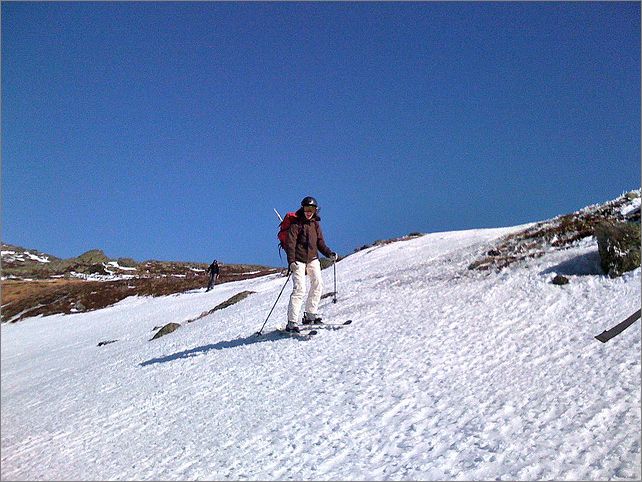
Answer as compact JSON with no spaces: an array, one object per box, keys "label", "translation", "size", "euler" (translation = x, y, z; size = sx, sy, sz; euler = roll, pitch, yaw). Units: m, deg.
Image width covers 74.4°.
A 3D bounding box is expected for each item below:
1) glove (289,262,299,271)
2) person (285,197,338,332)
[{"label":"glove","translation":[-0.814,0.794,13.265],"size":[0.327,0.292,0.272],"euler":[-6,5,-10]},{"label":"person","translation":[-0.479,0.698,13.627],"size":[1.022,4.145,1.555],"euler":[-1,5,32]}]
